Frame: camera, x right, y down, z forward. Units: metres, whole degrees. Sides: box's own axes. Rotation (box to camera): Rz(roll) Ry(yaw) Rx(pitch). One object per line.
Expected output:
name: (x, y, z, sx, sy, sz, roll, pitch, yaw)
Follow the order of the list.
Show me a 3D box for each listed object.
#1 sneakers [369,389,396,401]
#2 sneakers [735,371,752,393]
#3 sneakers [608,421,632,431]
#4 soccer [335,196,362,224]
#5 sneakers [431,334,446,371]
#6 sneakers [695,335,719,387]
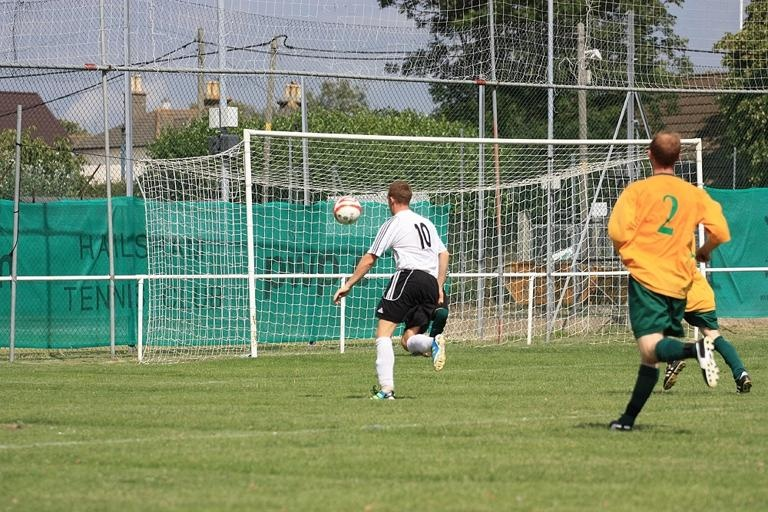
sneakers: (-0.018, 1.829, 16.900, 0.361, 0.143, 0.125, 2, -5, 2)
sneakers: (4.345, 1.579, 15.726, 0.158, 0.187, 0.390, -3, -23, 7)
sneakers: (2.809, 2.049, 15.577, 0.244, 0.098, 0.111, 4, -2, 28)
soccer: (-0.593, -0.713, 20.617, 0.425, 0.404, 0.417, 10, -15, 6)
sneakers: (0.693, 1.261, 16.867, 0.156, 0.454, 0.221, -1, 2, -4)
sneakers: (3.808, 1.236, 15.342, 0.237, 0.598, 0.277, -16, 3, -22)
